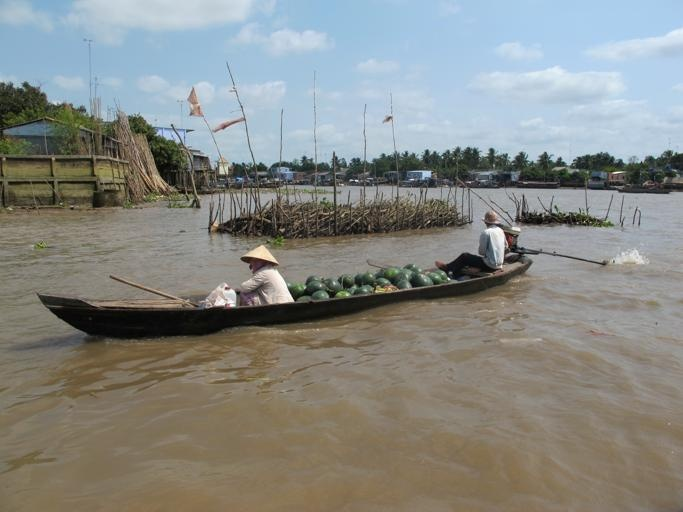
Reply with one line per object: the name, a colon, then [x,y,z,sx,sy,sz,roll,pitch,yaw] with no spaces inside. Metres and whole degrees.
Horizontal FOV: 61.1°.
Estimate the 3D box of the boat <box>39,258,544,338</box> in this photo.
boat: [-0.116,0.681,8.743,7.774,0.551,0.925,-3,3,-29]
